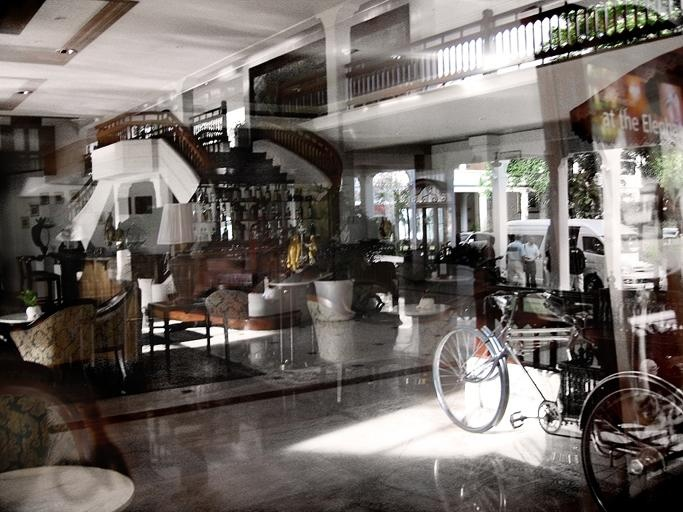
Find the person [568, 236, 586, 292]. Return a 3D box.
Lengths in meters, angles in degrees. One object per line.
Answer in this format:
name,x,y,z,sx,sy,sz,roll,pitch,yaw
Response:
person,4.197,0.147,9.096,0.276,0.829,0.559,2,7,25

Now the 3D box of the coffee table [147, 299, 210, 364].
coffee table,-2.165,1.015,6.733,0.688,0.837,0.904,-2,0,45

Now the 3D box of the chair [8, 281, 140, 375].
chair,-2.504,0.647,4.943,0.928,1.020,0.908,2,-2,-16

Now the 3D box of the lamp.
lamp,-2.529,-0.127,8.427,0.785,1.477,2.014,-3,7,-14
